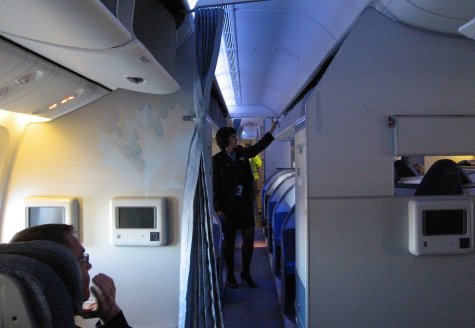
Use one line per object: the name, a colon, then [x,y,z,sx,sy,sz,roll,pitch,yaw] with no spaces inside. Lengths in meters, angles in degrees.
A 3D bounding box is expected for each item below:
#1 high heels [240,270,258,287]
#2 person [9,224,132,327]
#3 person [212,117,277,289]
high heels: [0.149,1.549,4.710,0.300,0.247,0.127,0,-4,1]
person: [-1.095,0.760,2.719,0.553,0.954,0.922,-4,0,9]
person: [0.015,0.584,4.498,0.572,2.068,0.795,-7,-9,38]
